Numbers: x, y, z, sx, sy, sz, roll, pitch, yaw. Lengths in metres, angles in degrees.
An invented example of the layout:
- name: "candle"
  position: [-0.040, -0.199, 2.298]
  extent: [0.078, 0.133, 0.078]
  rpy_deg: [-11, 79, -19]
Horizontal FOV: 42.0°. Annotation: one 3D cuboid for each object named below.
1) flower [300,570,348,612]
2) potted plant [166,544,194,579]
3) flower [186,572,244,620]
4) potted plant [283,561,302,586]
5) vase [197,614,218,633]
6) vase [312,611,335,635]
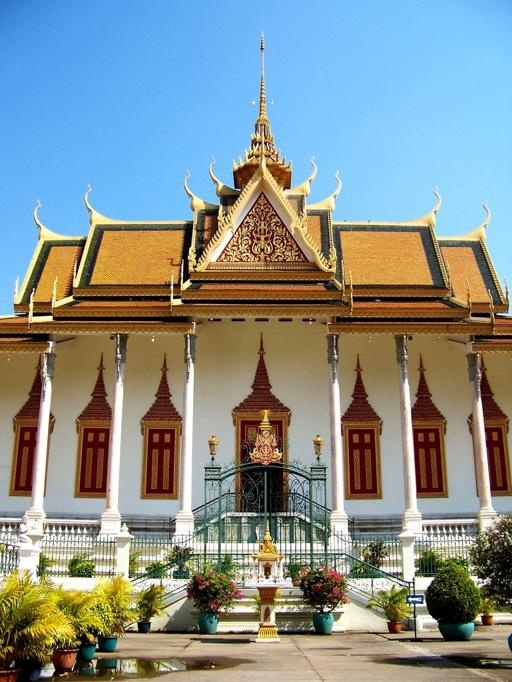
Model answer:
- name: "flower"
  position: [0.934, 3.496, 9.414]
  extent: [0.712, 0.659, 0.594]
  rpy_deg: [0, -46, 5]
- name: "potted plant"
  position: [-1.222, 3.557, 10.781]
  extent: [0.444, 0.503, 0.382]
  rpy_deg: [0, -29, 0]
- name: "flower"
  position: [-0.588, 3.487, 9.257]
  extent: [0.797, 0.637, 0.640]
  rpy_deg: [4, -29, -3]
- name: "potted plant"
  position: [0.538, 3.527, 10.121]
  extent: [0.218, 0.257, 0.242]
  rpy_deg: [30, -48, -30]
- name: "vase"
  position: [-0.658, 3.940, 9.358]
  extent: [0.338, 0.237, 0.292]
  rpy_deg: [-7, -29, 13]
- name: "vase"
  position: [0.932, 3.939, 9.372]
  extent: [0.319, 0.278, 0.303]
  rpy_deg: [-7, -20, 12]
